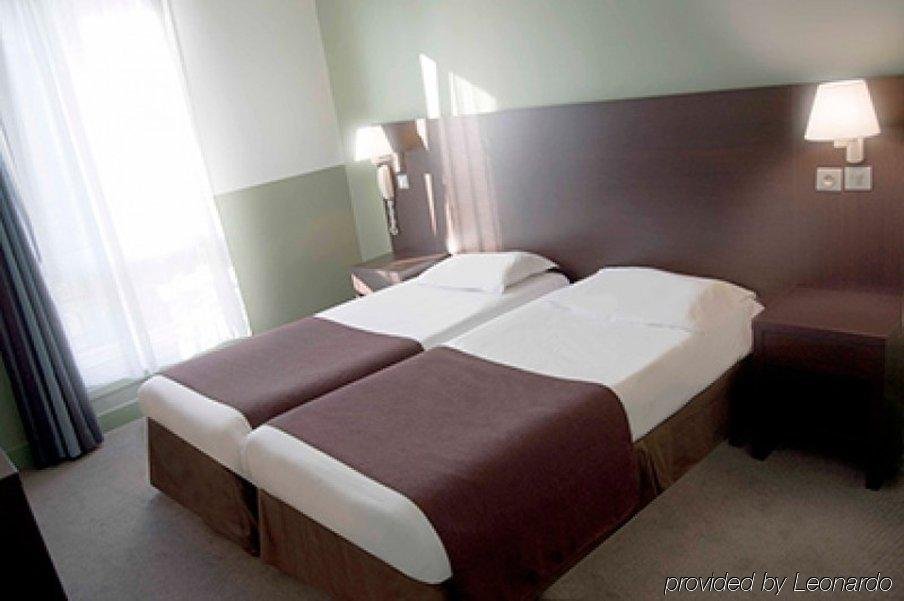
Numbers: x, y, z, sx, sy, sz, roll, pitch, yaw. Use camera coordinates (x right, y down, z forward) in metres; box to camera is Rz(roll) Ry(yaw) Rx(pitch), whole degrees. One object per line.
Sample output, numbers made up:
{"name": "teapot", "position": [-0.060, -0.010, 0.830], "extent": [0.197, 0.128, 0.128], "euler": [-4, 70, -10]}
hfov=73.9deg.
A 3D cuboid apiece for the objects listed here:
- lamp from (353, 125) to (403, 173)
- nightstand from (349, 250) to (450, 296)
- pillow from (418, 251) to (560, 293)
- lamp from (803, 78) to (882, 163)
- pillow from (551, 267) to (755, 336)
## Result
{"name": "lamp", "position": [-0.667, -1.372, 5.335], "extent": [0.409, 0.405, 0.361], "euler": [-20, 26, -28]}
{"name": "nightstand", "position": [-0.512, -0.267, 5.145], "extent": [0.508, 0.328, 0.533], "euler": [11, 22, 35]}
{"name": "pillow", "position": [0.185, -0.216, 4.524], "extent": [0.588, 0.142, 0.521], "euler": [7, 25, 39]}
{"name": "lamp", "position": [2.122, -0.950, 3.172], "extent": [0.291, 0.335, 0.296], "euler": [-18, 19, -7]}
{"name": "pillow", "position": [1.180, -0.025, 3.696], "extent": [0.732, 0.128, 0.572], "euler": [15, 31, 40]}
